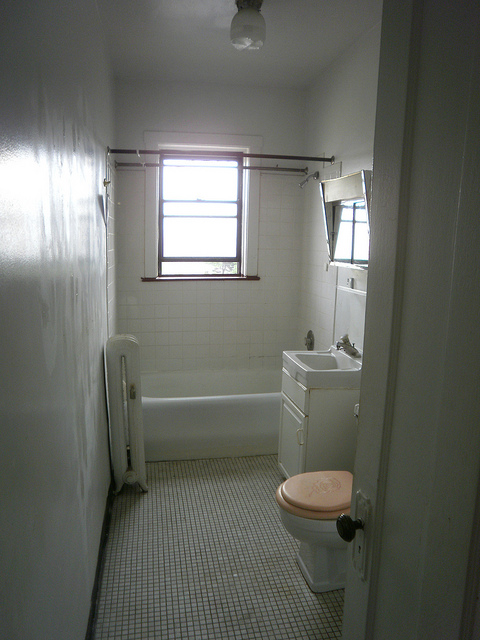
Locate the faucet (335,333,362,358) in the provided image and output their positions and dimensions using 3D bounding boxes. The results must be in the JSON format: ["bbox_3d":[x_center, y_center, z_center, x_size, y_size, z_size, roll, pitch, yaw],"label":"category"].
[{"bbox_3d":[0.697,0.161,3.040,0.054,0.114,0.221,-1,10,-6],"label":"faucet"}]

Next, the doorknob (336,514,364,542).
[{"bbox_3d":[0.197,0.370,0.880,0.046,0.061,0.032,0,4,-26],"label":"doorknob"}]

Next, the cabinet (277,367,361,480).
[{"bbox_3d":[0.449,0.584,2.825,0.304,0.829,0.470,0,9,-9],"label":"cabinet"}]

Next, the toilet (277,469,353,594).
[{"bbox_3d":[0.319,0.907,2.085,0.308,0.432,0.381,3,7,16],"label":"toilet"}]
